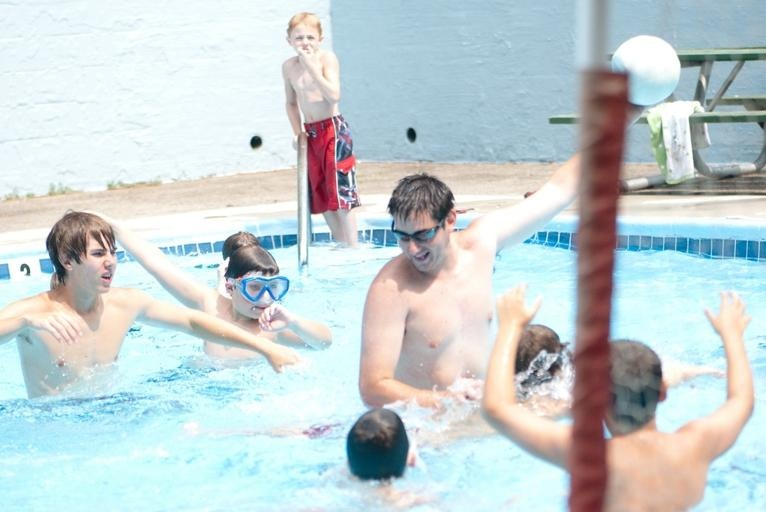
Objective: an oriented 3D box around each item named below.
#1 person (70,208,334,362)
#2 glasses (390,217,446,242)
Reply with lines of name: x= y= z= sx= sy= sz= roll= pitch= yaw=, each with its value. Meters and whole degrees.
person: x=-1.380 y=0.255 z=6.284 sx=1.385 sy=0.610 sz=2.305 roll=5 pitch=-27 yaw=-2
glasses: x=0.178 y=-0.140 z=4.487 sx=0.309 sy=0.126 sz=0.122 roll=0 pitch=10 yaw=20
